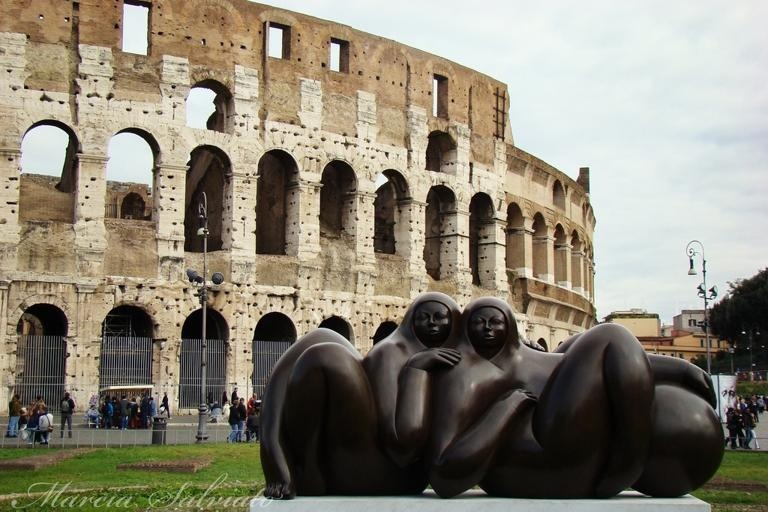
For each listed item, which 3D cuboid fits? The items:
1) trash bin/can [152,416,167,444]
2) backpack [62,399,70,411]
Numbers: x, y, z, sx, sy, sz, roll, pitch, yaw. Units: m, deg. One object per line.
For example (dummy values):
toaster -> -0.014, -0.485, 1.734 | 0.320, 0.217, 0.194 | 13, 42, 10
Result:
trash bin/can -> -5.525, 4.282, 21.887 | 0.342, 0.646, 0.555 | 2, 4, -15
backpack -> -8.224, 3.849, 22.972 | 0.209, 0.335, 0.309 | 1, 4, -21
